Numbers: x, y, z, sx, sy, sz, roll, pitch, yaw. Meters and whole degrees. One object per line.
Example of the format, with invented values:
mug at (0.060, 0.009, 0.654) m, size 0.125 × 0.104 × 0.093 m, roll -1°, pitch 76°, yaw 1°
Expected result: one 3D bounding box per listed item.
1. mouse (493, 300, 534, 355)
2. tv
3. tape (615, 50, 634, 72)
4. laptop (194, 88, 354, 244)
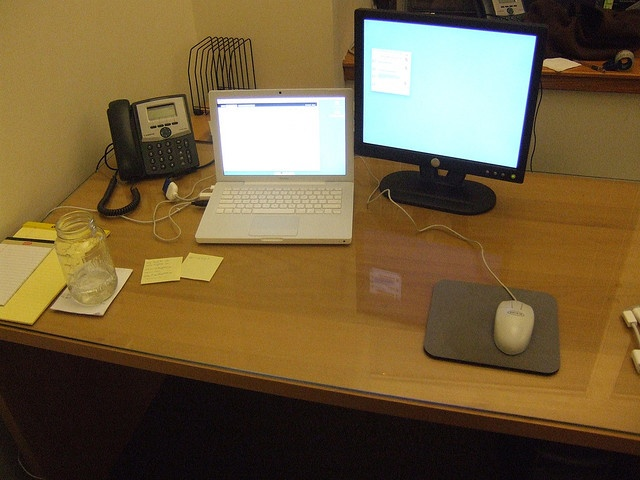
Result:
mouse at (0.493, 0.206, 1.313) m, size 0.093 × 0.038 × 0.171 m, roll 2°, pitch 37°, yaw 25°
tv at (0.381, -0.373, 1.577) m, size 0.545 × 0.579 × 0.208 m, roll 11°, pitch 37°, yaw 16°
tape at (1.438, -0.847, 2.455) m, size 0.075 × 0.093 × 0.096 m, roll 1°, pitch 51°, yaw 22°
laptop at (-0.111, -0.238, 1.678) m, size 0.556 × 0.427 × 0.456 m, roll 1°, pitch 45°, yaw 3°
